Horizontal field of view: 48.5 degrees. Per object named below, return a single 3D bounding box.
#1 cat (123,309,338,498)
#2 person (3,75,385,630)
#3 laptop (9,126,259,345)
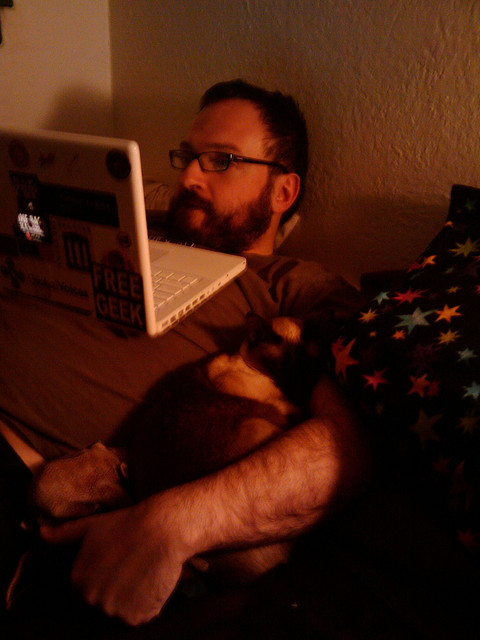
[{"bbox_3d":[-0.018,0.138,0.935,0.243,0.172,0.415,27,50,35],"label":"cat"},{"bbox_3d":[-0.051,0.009,1.073,0.609,0.404,0.996,-5,31,18],"label":"person"},{"bbox_3d":[-0.155,-0.200,1.082,0.588,0.357,0.404,11,25,30],"label":"laptop"}]
